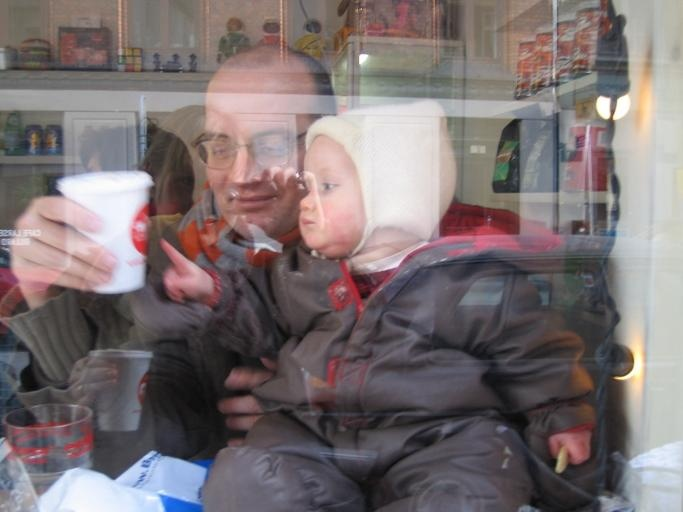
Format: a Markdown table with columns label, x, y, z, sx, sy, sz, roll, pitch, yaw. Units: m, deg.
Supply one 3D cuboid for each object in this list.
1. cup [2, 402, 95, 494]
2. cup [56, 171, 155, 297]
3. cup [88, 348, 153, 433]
| label | x | y | z | sx | sy | sz | roll | pitch | yaw |
| --- | --- | --- | --- | --- | --- | --- | --- | --- | --- |
| cup | -0.527 | 0.341 | 1.336 | 0.163 | 0.131 | 0.147 | -1 | -2 | 9 |
| cup | -0.411 | -0.042 | 1.286 | 0.151 | 0.213 | 0.072 | -5 | 7 | -20 |
| cup | -0.412 | 0.247 | 1.369 | 0.151 | 0.161 | 0.146 | 3 | -7 | 0 |
